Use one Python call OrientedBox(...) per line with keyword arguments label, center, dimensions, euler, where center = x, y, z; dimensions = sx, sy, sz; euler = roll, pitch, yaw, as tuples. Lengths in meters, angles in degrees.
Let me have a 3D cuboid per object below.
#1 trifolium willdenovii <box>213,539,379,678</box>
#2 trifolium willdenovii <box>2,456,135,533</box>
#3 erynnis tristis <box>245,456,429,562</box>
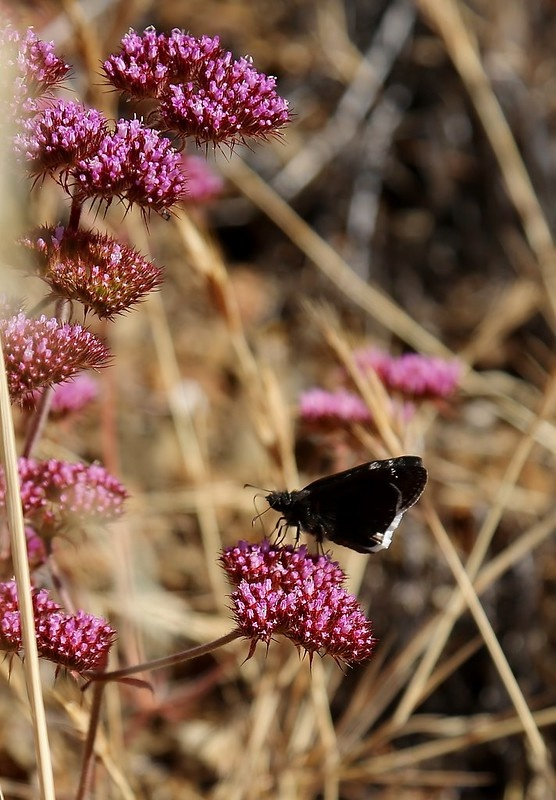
OrientedBox(label="trifolium willdenovii", center=(0.078, 0.732, 3.011), dimensions=(0.552, 0.482, 0.253), euler=(10, 89, 20))
OrientedBox(label="trifolium willdenovii", center=(-0.746, 0.353, 3.161), dimensions=(0.411, 0.204, 0.244), euler=(5, 61, 5))
OrientedBox(label="erynnis tristis", center=(0.262, 0.406, 3.429), dimensions=(0.456, 0.538, 0.266), euler=(7, 84, 4))
